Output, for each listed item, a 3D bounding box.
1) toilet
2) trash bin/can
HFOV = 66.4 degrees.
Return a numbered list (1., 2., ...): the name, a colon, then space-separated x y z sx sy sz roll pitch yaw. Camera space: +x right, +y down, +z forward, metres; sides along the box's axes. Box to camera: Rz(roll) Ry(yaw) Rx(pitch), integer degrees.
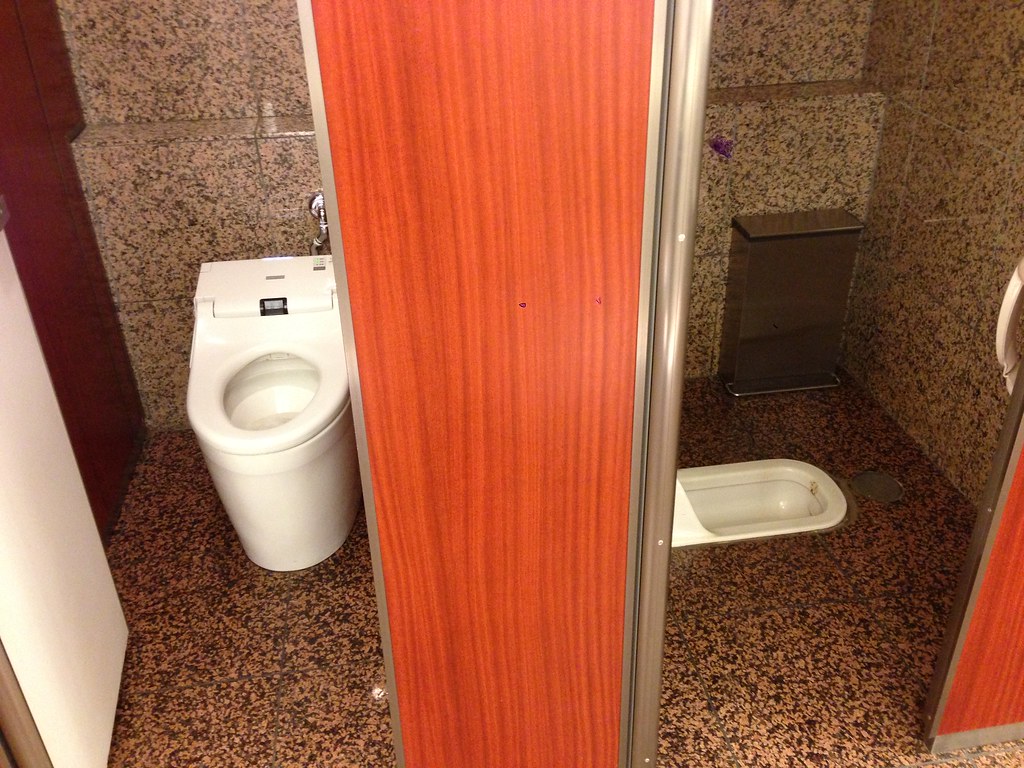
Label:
1. toilet: -0.840 0.106 2.857 0.525 0.803 0.841 -2 44 -7
2. trash bin/can: 1.157 -0.326 3.313 0.441 0.616 0.216 0 18 2
